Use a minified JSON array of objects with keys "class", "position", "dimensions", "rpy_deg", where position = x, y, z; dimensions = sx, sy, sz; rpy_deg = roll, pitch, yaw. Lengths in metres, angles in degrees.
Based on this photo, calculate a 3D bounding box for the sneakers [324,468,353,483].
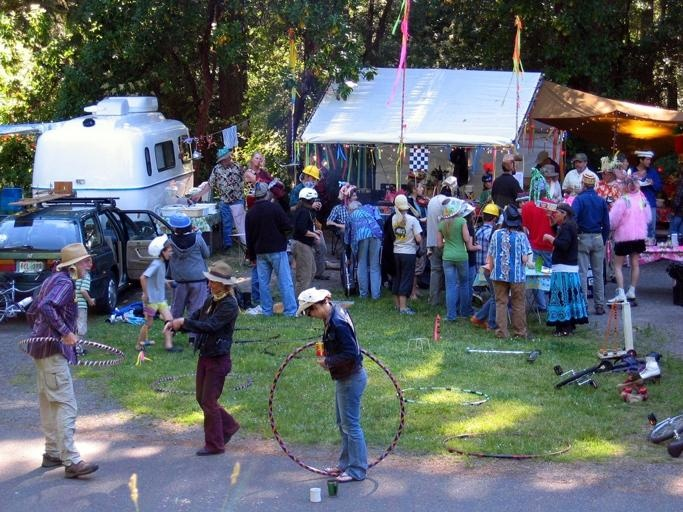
[{"class":"sneakers","position":[-0.023,2.436,9.508],"dimensions":[0.276,0.085,0.112],"rpy_deg":[8,14,41]}]

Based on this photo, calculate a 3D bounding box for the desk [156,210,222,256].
[{"class":"desk","position":[-3.294,-0.616,19.922],"dimensions":[1.132,0.670,1.075],"rpy_deg":[10,25,11]}]

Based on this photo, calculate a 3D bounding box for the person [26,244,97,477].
[{"class":"person","position":[-3.148,1.180,9.695],"dimensions":[0.727,2.431,1.019],"rpy_deg":[-4,12,-18]}]

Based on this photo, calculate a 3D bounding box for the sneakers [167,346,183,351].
[{"class":"sneakers","position":[-2.592,1.455,13.430],"dimensions":[0.225,0.106,0.083],"rpy_deg":[-1,9,-6]}]

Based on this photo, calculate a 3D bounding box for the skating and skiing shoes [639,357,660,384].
[{"class":"skating and skiing shoes","position":[4.152,1.576,11.609],"dimensions":[0.211,0.292,0.552],"rpy_deg":[6,15,29]}]

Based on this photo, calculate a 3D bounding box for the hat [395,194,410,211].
[{"class":"hat","position":[1.069,-0.975,15.171],"dimensions":[0.210,0.293,0.268],"rpy_deg":[-21,27,-24]}]

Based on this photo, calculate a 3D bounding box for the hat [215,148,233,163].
[{"class":"hat","position":[-2.640,-2.331,19.614],"dimensions":[0.363,0.096,0.347],"rpy_deg":[-47,27,-23]}]

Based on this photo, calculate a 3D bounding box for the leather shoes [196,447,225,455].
[{"class":"leather shoes","position":[-1.536,2.281,10.053],"dimensions":[0.286,0.142,0.115],"rpy_deg":[3,-2,-2]}]

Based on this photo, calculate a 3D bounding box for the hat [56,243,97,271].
[{"class":"hat","position":[-3.128,0.046,9.992],"dimensions":[0.286,0.164,0.299],"rpy_deg":[-24,7,43]}]

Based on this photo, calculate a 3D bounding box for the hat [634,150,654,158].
[{"class":"hat","position":[6.426,-2.179,18.411],"dimensions":[0.289,0.120,0.308],"rpy_deg":[-4,7,-16]}]

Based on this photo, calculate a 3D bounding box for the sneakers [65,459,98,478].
[{"class":"sneakers","position":[-2.885,2.377,9.620],"dimensions":[0.391,0.212,0.159],"rpy_deg":[-4,15,-2]}]

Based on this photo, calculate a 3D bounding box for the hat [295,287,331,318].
[{"class":"hat","position":[-0.306,0.512,9.511],"dimensions":[0.322,0.328,0.430],"rpy_deg":[-1,13,-2]}]

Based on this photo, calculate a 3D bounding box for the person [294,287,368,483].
[{"class":"person","position":[-0.062,1.398,9.548],"dimensions":[0.704,2.072,0.651],"rpy_deg":[-1,12,0]}]

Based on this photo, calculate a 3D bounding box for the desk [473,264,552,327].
[{"class":"desk","position":[3.183,0.695,14.641],"dimensions":[0.638,0.794,1.019],"rpy_deg":[3,20,15]}]

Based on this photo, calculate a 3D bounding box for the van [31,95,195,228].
[{"class":"van","position":[-4.905,-2.380,19.645],"dimensions":[1.853,2.554,3.925],"rpy_deg":[5,13,17]}]

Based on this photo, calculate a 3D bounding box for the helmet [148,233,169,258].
[{"class":"helmet","position":[-2.780,-0.132,13.183],"dimensions":[0.283,0.316,0.334],"rpy_deg":[-3,13,-11]}]

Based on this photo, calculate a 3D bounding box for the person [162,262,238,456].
[{"class":"person","position":[-1.541,1.183,10.131],"dimensions":[0.678,2.162,0.751],"rpy_deg":[-2,12,-9]}]

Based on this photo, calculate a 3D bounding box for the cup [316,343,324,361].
[{"class":"cup","position":[-0.232,1.027,9.403],"dimensions":[0.070,0.213,0.180],"rpy_deg":[-1,12,-1]}]

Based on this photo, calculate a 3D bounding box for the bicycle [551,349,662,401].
[{"class":"bicycle","position":[3.710,1.619,11.619],"dimensions":[0.998,0.382,0.767],"rpy_deg":[-9,11,-4]}]

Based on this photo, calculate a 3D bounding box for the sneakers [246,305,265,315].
[{"class":"sneakers","position":[-1.527,0.977,15.355],"dimensions":[0.147,0.152,0.305],"rpy_deg":[4,-5,31]}]

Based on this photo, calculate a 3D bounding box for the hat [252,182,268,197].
[{"class":"hat","position":[-1.386,-1.139,14.818],"dimensions":[0.233,0.239,0.246],"rpy_deg":[-2,13,-7]}]

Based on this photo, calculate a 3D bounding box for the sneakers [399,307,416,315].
[{"class":"sneakers","position":[1.177,0.983,15.300],"dimensions":[0.278,0.138,0.112],"rpy_deg":[-1,6,-19]}]

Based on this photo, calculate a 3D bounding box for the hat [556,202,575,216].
[{"class":"hat","position":[3.538,-0.760,13.710],"dimensions":[0.177,0.275,0.176],"rpy_deg":[-3,6,-20]}]

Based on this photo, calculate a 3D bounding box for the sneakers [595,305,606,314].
[{"class":"sneakers","position":[4.482,0.937,14.944],"dimensions":[0.118,0.125,0.277],"rpy_deg":[-1,-4,9]}]

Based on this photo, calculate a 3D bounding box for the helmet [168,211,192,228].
[{"class":"helmet","position":[-2.522,-0.537,13.457],"dimensions":[0.269,0.281,0.574],"rpy_deg":[-4,14,-15]}]
